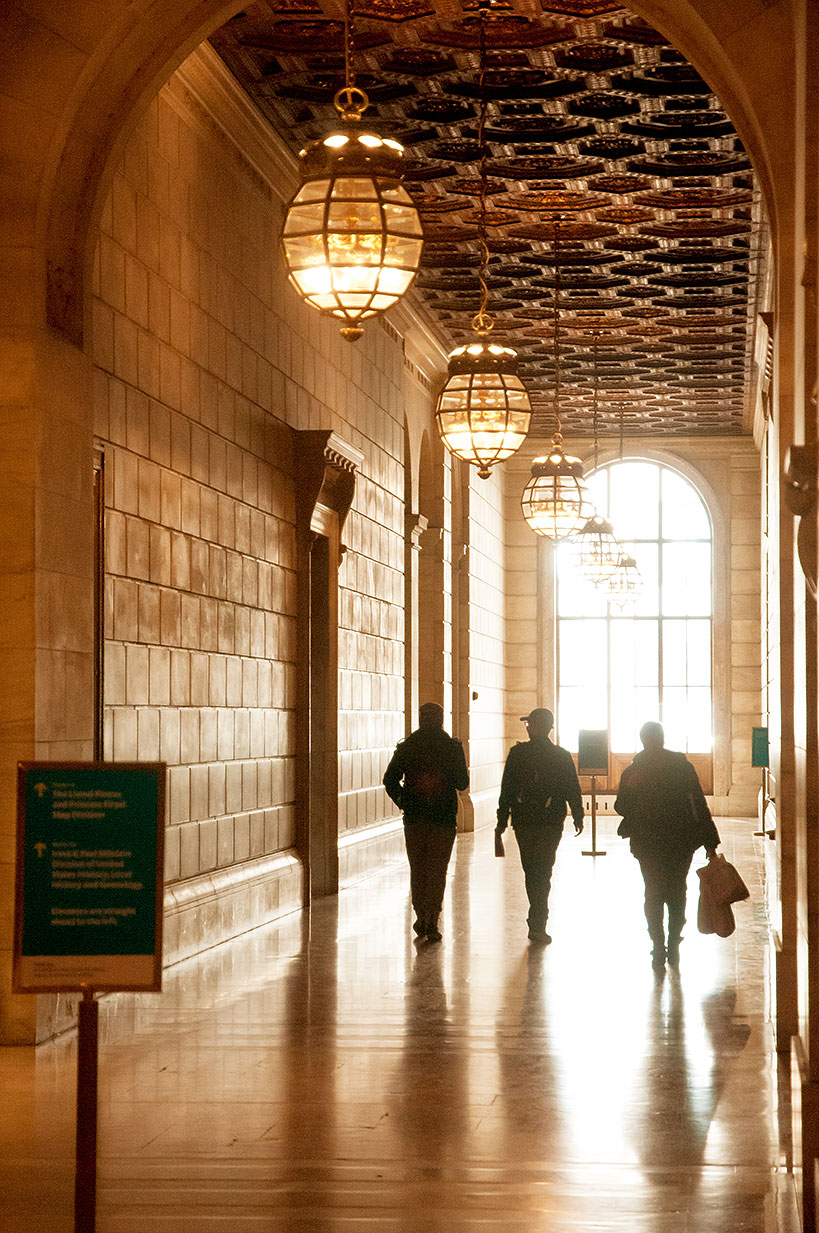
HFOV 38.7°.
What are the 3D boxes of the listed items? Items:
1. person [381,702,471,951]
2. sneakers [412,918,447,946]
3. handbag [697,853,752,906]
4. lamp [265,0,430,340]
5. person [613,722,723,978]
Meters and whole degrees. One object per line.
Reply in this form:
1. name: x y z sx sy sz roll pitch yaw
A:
1. person: 0.139 1.656 9.335 0.642 1.906 0.671 -1 -8 4
2. sneakers: 0.162 2.542 9.329 0.262 0.247 0.102 0 -1 -20
3. handbag: 1.851 1.582 6.959 0.262 0.284 0.419 -2 -10 14
4. lamp: -0.239 -1.625 4.578 0.432 0.799 0.505 7 -11 -42
5. person: 1.808 1.618 8.270 0.675 1.729 0.856 -2 -8 13
